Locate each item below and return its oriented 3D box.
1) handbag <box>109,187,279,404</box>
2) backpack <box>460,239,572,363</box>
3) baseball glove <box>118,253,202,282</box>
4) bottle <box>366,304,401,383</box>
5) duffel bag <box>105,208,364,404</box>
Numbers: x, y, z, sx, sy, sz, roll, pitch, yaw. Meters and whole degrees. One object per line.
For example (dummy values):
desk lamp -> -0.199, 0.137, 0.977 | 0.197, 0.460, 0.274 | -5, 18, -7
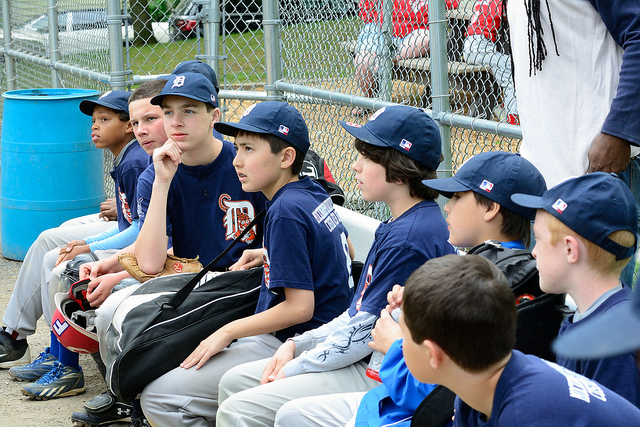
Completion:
handbag -> -0.743, 0.501, 3.610 | 0.386, 0.538, 1.343 | 17, 20, 22
backpack -> 0.793, 0.349, 2.819 | 0.484, 0.470, 0.357 | 3, 8, 18
baseball glove -> -0.937, 0.316, 3.975 | 0.373, 0.088, 0.226 | -2, 22, -5
bottle -> 0.275, 0.587, 2.971 | 0.115, 0.419, 0.285 | 0, 8, -7
duffel bag -> -0.565, 0.426, 3.775 | 1.407, 0.509, 0.758 | -22, 16, -11
